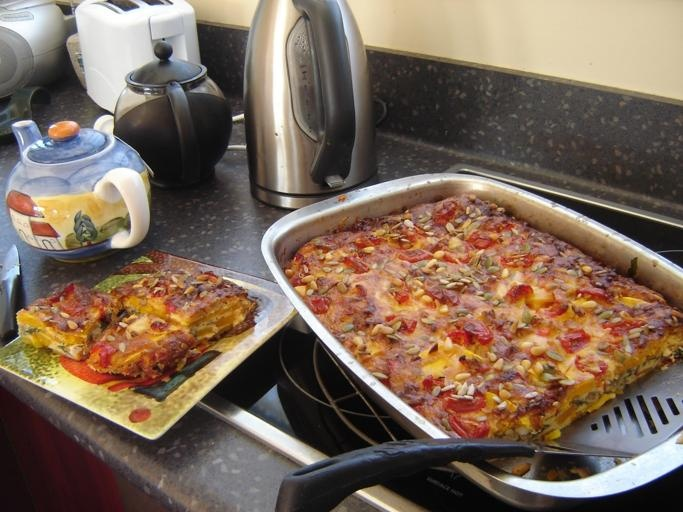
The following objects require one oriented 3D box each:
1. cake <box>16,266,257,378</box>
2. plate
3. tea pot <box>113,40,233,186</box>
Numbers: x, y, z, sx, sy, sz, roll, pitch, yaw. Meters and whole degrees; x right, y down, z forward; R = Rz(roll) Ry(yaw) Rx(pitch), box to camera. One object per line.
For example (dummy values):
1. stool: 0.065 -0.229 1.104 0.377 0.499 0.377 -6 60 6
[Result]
1. cake: -0.306 0.091 0.801 0.245 0.050 0.232 16 29 24
2. plate: -0.280 0.106 0.781 0.321 0.043 0.314 20 41 21
3. tea pot: -0.353 -0.289 1.081 0.268 0.252 0.272 0 31 0
